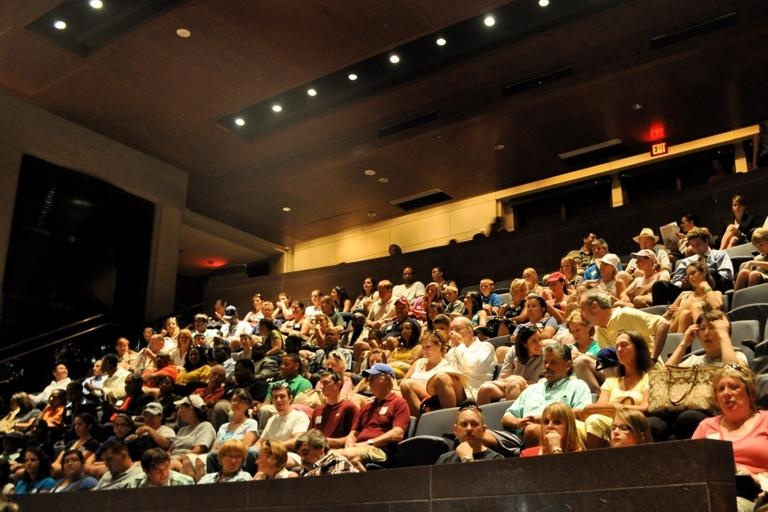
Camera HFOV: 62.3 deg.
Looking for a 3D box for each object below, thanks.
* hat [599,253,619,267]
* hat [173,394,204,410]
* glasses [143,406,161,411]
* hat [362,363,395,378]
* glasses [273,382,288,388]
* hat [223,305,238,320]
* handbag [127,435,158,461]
[{"bbox_3d":[3.238,0.070,9.084,0.286,0.144,0.207,28,-12,-27],"label":"hat"},{"bbox_3d":[-2.350,1.744,7.642,0.355,0.132,0.218,4,-7,1],"label":"hat"},{"bbox_3d":[-2.864,1.892,7.890,0.114,0.051,0.158,2,-8,-2],"label":"glasses"},{"bbox_3d":[-0.041,1.185,6.628,0.259,0.121,0.167,13,-18,-7],"label":"hat"},{"bbox_3d":[-1.155,1.454,7.132,0.134,0.059,0.151,-1,-8,1],"label":"glasses"},{"bbox_3d":[-2.952,1.093,12.274,0.258,0.203,0.341,8,-1,-4],"label":"hat"},{"bbox_3d":[-2.655,2.122,6.993,0.299,0.217,0.154,-1,3,-10],"label":"handbag"}]
